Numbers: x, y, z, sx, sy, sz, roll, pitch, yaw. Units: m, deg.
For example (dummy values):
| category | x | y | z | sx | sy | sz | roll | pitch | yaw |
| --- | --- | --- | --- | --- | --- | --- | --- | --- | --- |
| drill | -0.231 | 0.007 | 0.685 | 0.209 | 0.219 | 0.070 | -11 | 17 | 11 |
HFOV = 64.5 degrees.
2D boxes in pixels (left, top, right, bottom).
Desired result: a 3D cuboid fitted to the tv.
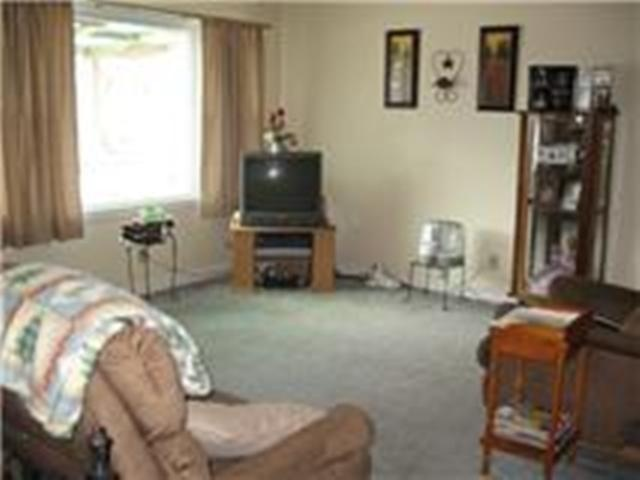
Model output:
| category | x | y | z | sx | sy | sz | roll | pitch | yaw |
| --- | --- | --- | --- | --- | --- | --- | --- | --- | --- |
| tv | -0.273 | -0.433 | 4.952 | 1.088 | 0.939 | 0.607 | -1 | -1 | 3 |

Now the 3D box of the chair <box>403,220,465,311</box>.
| category | x | y | z | sx | sy | sz | roll | pitch | yaw |
| --- | --- | --- | --- | --- | --- | --- | --- | --- | --- |
| chair | 1.181 | 0.180 | 4.643 | 0.494 | 0.707 | 0.489 | 0 | 3 | -14 |

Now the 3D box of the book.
| category | x | y | z | sx | sy | sz | roll | pitch | yaw |
| --- | --- | --- | --- | --- | --- | --- | --- | --- | --- |
| book | 0.912 | 0.801 | 2.186 | 0.201 | 0.055 | 0.221 | 2 | 10 | 19 |

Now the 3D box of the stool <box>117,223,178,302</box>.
| category | x | y | z | sx | sy | sz | roll | pitch | yaw |
| --- | --- | --- | --- | --- | --- | --- | --- | --- | --- |
| stool | -1.570 | 0.099 | 4.482 | 0.485 | 0.810 | 0.535 | 4 | -3 | -7 |

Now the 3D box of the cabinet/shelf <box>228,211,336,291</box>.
| category | x | y | z | sx | sy | sz | roll | pitch | yaw |
| --- | --- | --- | --- | --- | --- | --- | --- | --- | --- |
| cabinet/shelf | -0.394 | 0.054 | 4.966 | 0.968 | 0.613 | 0.548 | -2 | 20 | -12 |

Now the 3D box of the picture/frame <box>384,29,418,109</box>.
| category | x | y | z | sx | sy | sz | roll | pitch | yaw |
| --- | --- | --- | --- | --- | --- | --- | --- | --- | --- |
| picture/frame | 0.764 | -1.593 | 4.703 | 0.322 | 0.727 | 0.188 | 0 | 13 | 9 |

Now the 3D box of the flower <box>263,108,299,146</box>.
| category | x | y | z | sx | sy | sz | roll | pitch | yaw |
| --- | --- | --- | --- | --- | --- | --- | --- | --- | --- |
| flower | -0.401 | -1.116 | 5.054 | 0.303 | 0.422 | 0.411 | -8 | 14 | -25 |
